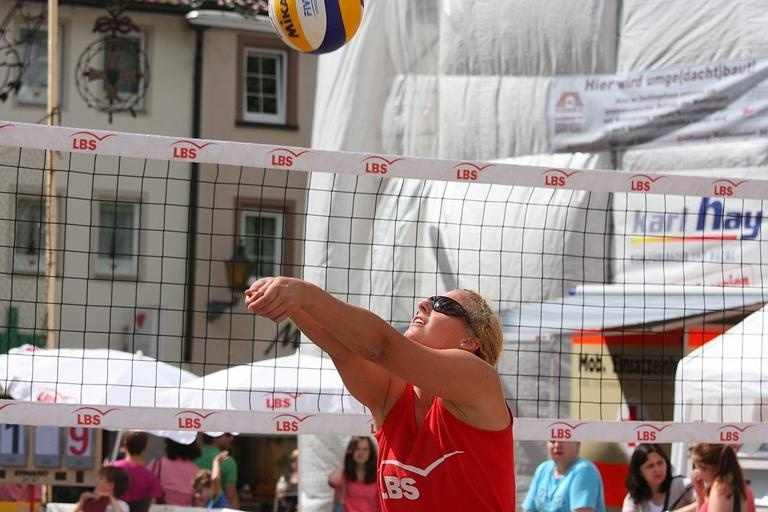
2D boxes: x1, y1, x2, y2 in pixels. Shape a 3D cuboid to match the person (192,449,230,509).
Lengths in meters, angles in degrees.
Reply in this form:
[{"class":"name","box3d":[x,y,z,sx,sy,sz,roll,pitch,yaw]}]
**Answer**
[{"class":"person","box3d":[-2.283,2.942,19.911,0.421,0.726,0.653,0,-8,9]}]
